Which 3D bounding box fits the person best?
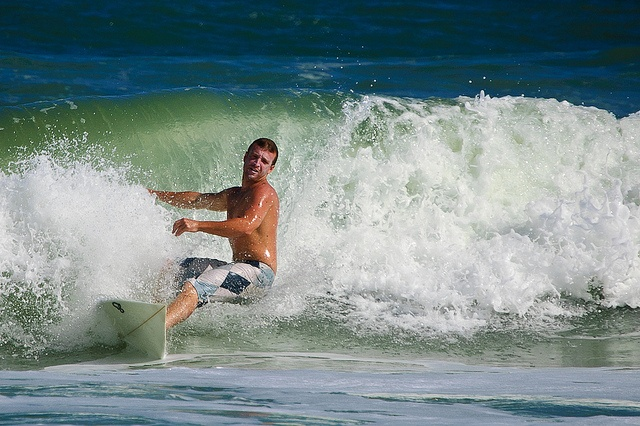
[{"bbox_3d":[-0.991,0.139,8.693,1.027,1.904,0.941,-1,2,3],"label":"person"}]
